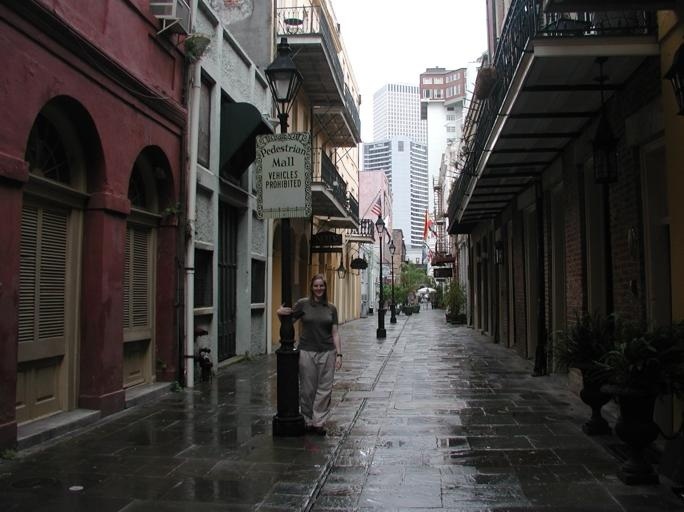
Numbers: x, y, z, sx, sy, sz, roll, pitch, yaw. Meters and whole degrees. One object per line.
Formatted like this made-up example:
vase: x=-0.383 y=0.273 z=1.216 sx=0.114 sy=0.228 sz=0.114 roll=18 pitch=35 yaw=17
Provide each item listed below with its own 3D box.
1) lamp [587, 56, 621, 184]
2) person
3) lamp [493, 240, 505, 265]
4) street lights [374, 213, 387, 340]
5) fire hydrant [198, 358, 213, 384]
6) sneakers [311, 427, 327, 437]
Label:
lamp: x=3.923 y=-1.879 z=9.353 sx=0.347 sy=1.789 sz=1.227 roll=0 pitch=-1 yaw=24
person: x=-0.410 y=1.418 z=9.212 sx=0.758 sy=2.259 sz=0.590 roll=0 pitch=-1 yaw=3
lamp: x=5.021 y=-0.121 z=20.047 sx=0.199 sy=0.798 sz=0.720 roll=0 pitch=-3 yaw=9
street lights: x=1.857 y=1.008 z=29.902 sx=0.645 sy=5.827 sz=0.697 roll=0 pitch=2 yaw=21
fire hydrant: x=-2.808 y=2.329 z=12.976 sx=0.196 sy=0.507 sz=0.445 roll=0 pitch=-1 yaw=25
sneakers: x=-0.352 y=2.499 z=8.979 sx=0.341 sy=0.099 sz=0.129 roll=-1 pitch=-2 yaw=39
